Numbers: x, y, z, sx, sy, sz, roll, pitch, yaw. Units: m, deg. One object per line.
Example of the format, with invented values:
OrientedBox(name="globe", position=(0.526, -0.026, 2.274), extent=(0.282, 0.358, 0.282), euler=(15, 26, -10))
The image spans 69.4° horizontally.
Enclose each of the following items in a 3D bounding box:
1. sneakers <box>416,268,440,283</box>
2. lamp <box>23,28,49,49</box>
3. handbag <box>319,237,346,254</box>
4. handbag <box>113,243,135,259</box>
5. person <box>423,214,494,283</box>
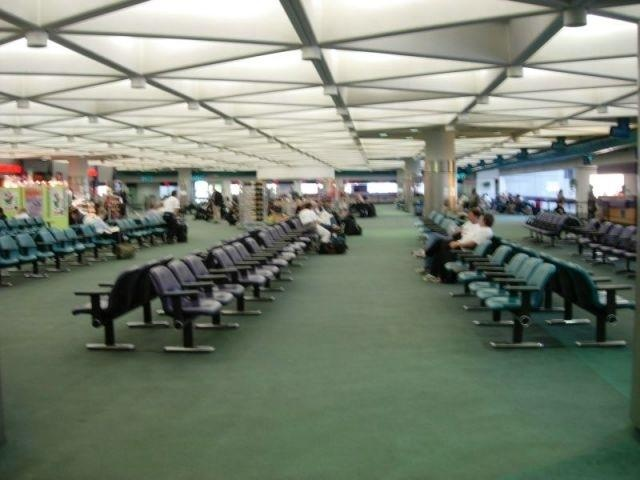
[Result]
OrientedBox(name="sneakers", position=(2.742, 0.959, 11.845), extent=(0.525, 0.187, 0.153), euler=(19, 4, 17))
OrientedBox(name="lamp", position=(-4.743, -3.329, 7.768), extent=(0.387, 0.202, 0.366), euler=(-7, -6, 32))
OrientedBox(name="handbag", position=(0.555, 0.203, 17.418), extent=(0.711, 0.600, 1.121), euler=(4, 9, 35))
OrientedBox(name="handbag", position=(-7.309, 0.398, 17.324), extent=(1.017, 0.547, 0.823), euler=(1, 8, -7))
OrientedBox(name="person", position=(3.298, 0.045, 11.675), extent=(1.515, 1.777, 0.865), euler=(5, 26, -9))
